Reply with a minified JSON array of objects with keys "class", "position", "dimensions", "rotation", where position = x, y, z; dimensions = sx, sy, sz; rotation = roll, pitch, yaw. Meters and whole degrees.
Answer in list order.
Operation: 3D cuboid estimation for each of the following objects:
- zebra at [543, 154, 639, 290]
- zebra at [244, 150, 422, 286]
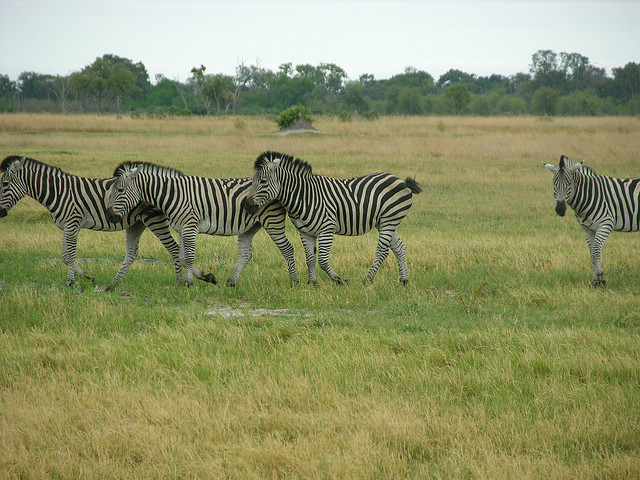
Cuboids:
[{"class":"zebra","position":[6.255,-0.461,22.364],"dimensions":[2.017,2.792,1.016],"rotation":[0,8,-11]},{"class":"zebra","position":[0.461,-0.454,22.706],"dimensions":[4.320,3.182,1.066],"rotation":[-2,6,-19]}]
